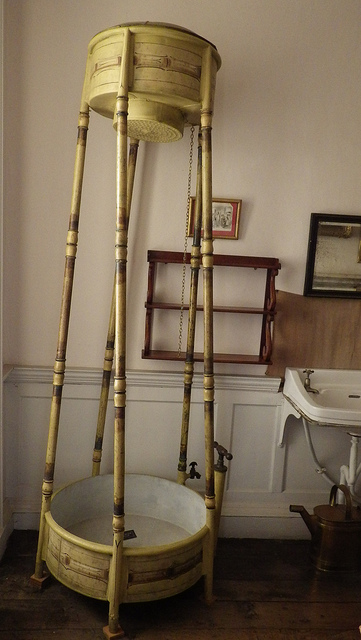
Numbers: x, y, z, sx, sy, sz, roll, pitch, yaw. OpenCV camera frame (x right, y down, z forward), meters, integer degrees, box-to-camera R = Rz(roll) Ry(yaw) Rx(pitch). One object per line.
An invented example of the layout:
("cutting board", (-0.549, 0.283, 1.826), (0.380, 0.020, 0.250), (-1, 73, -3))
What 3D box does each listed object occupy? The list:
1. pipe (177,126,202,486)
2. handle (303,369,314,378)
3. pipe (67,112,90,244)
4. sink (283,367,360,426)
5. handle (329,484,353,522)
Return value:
("pipe", (0.055, 0.009, 2.778), (0.056, 1.633, 0.307), (4, 7, 2))
("handle", (0.655, 0.278, 2.920), (0.041, 0.048, 0.009), (0, -3, 0))
("pipe", (-0.438, -0.598, 2.423), (0.062, 0.545, 0.184), (3, 7, -11))
("sink", (0.752, 0.370, 2.729), (0.396, 0.170, 0.563), (4, 7, -5))
("handle", (0.778, 0.892, 2.757), (0.029, 0.111, 0.142), (4, -11, -10))
